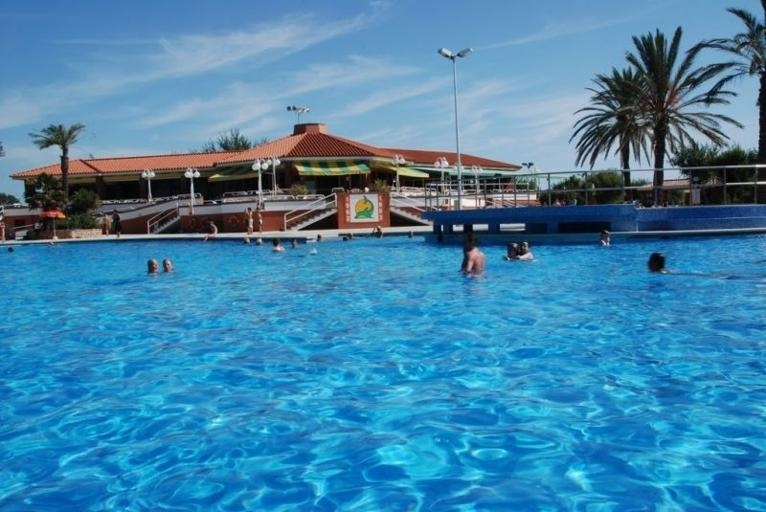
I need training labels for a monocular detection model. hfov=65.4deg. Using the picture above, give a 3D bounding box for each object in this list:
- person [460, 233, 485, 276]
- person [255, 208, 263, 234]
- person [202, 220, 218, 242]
[{"bbox_3d":[1.956,-0.069,13.202,0.488,0.924,1.058,-2,8,7],"label":"person"},{"bbox_3d":[-6.511,-1.922,31.263,0.413,1.202,0.879,-6,9,-12],"label":"person"},{"bbox_3d":[-8.696,-1.273,30.068,0.549,0.663,1.567,23,-36,-1],"label":"person"}]
